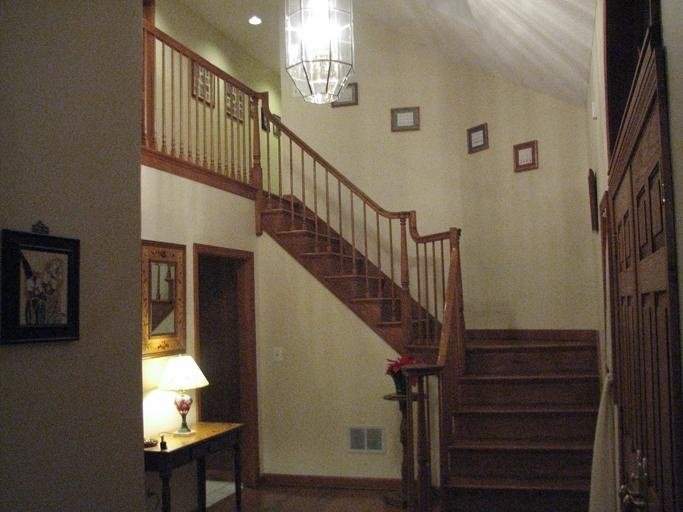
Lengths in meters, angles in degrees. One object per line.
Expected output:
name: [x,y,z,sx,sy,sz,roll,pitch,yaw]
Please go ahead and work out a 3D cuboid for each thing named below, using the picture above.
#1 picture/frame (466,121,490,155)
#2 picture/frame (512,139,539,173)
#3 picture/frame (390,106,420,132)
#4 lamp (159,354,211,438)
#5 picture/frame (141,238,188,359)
picture/frame: [1.474,-1.273,7.067,0.034,0.316,0.313,0,4,-38]
picture/frame: [1.909,-1.035,6.771,0.029,0.433,0.314,4,-4,-44]
picture/frame: [0.717,-1.532,7.347,0.245,0.249,0.023,0,-5,6]
lamp: [-1.231,1.083,5.087,0.318,0.607,0.346,-6,-7,29]
picture/frame: [-1.413,0.348,5.127,0.065,1.074,0.804,-3,-5,22]
